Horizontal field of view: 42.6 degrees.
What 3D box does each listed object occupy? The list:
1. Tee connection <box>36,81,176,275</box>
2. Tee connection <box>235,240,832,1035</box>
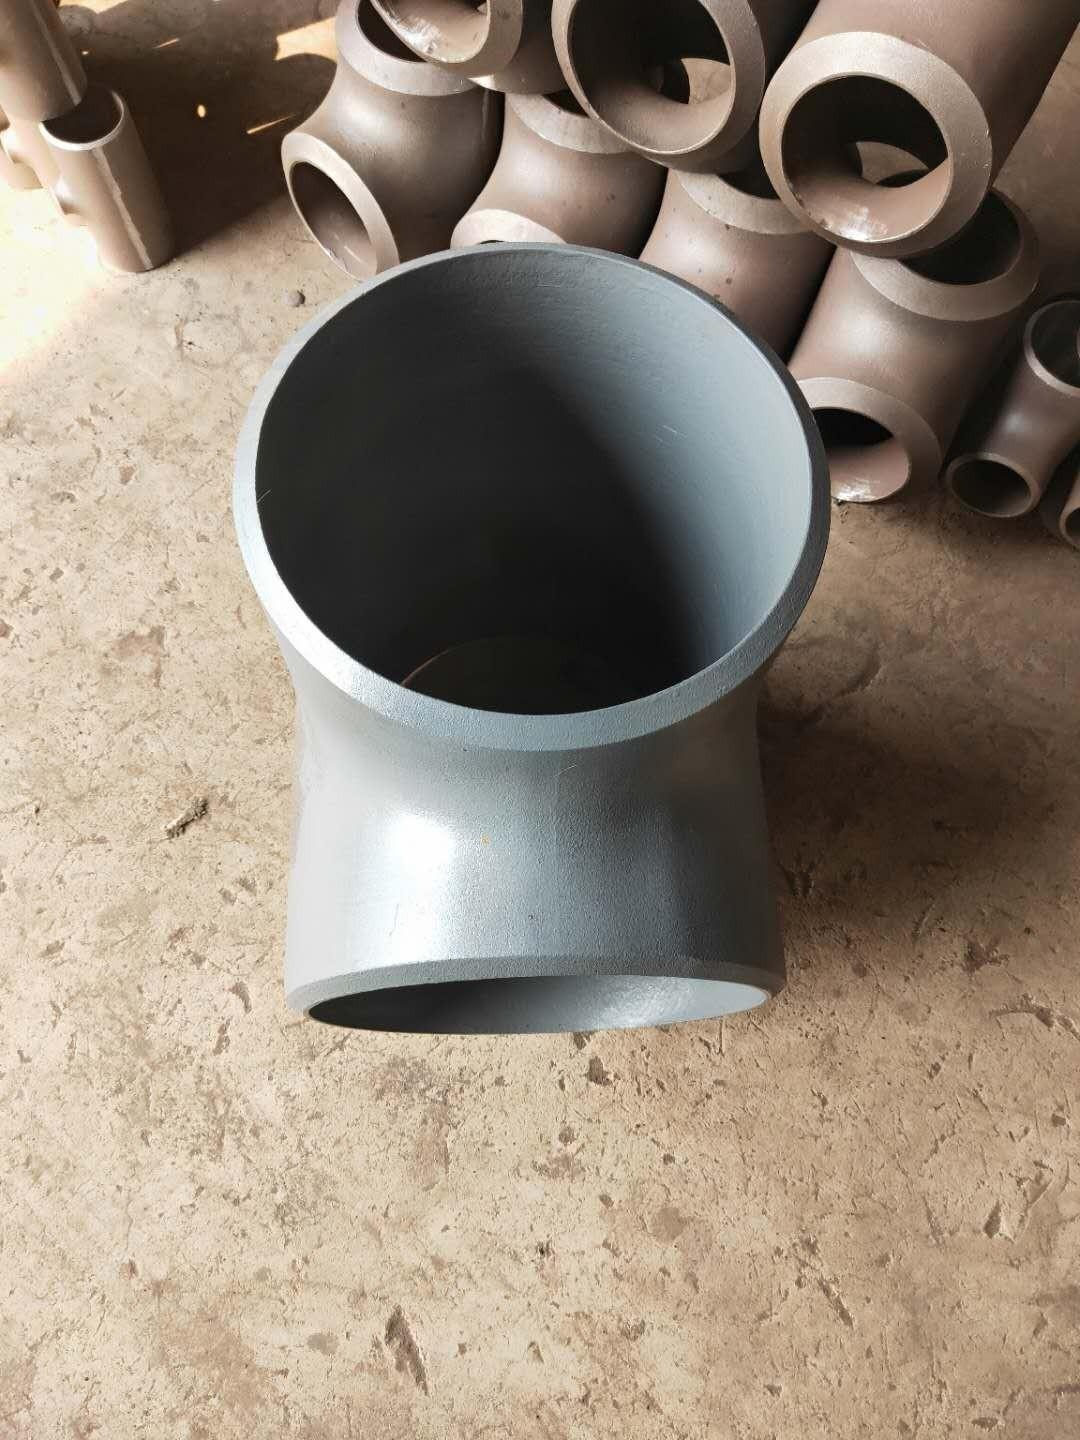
[{"bbox_3d":[-0.802,-0.977,2.545,0.189,0.316,0.188,-37,81,-17],"label":"Tee connection"},{"bbox_3d":[0.001,-0.077,1.774,0.685,0.852,1.026,-1,75,0],"label":"Tee connection"}]
